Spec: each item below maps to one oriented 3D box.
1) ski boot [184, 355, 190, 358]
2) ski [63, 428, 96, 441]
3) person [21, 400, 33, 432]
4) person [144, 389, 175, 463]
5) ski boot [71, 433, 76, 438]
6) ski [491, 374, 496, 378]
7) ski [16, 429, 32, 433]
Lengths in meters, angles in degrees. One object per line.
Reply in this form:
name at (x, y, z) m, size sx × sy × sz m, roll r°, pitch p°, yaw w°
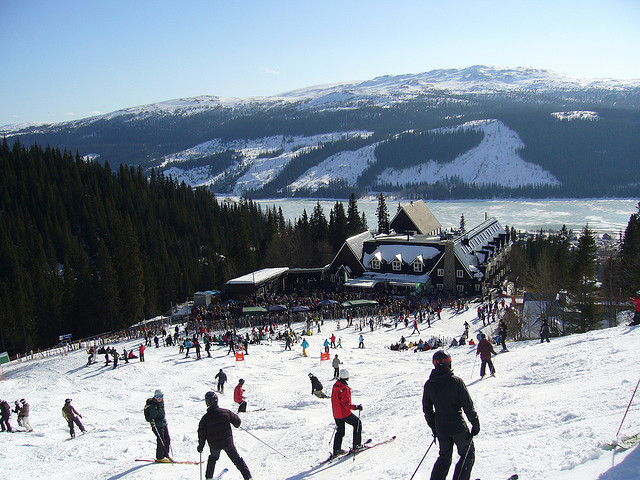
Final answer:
ski boot at (-11.120, 9.728, 58.604) m, size 0.407 × 0.167 × 0.371 m, roll -5°, pitch 4°, yaw 10°
ski at (-14.962, 12.252, 43.973) m, size 2.330 × 0.236 × 0.269 m, roll -10°, pitch 19°, yaw -31°
person at (-19.099, 11.385, 45.418) m, size 0.555 × 1.370 × 1.257 m, roll -6°, pitch 4°, yaw -28°
person at (-9.089, 10.547, 39.456) m, size 1.384 × 4.313 × 0.938 m, roll -6°, pitch 5°, yaw -33°
ski boot at (-15.392, 12.273, 43.904) m, size 0.188 × 0.238 × 0.383 m, roll 4°, pitch -1°, yaw -1°
ski at (11.090, 8.572, 44.177) m, size 0.163 × 0.102 × 0.355 m, roll -6°, pitch 4°, yaw -3°
ski at (-19.233, 12.330, 45.079) m, size 0.777 × 0.105 × 0.269 m, roll -5°, pitch 4°, yaw 10°
